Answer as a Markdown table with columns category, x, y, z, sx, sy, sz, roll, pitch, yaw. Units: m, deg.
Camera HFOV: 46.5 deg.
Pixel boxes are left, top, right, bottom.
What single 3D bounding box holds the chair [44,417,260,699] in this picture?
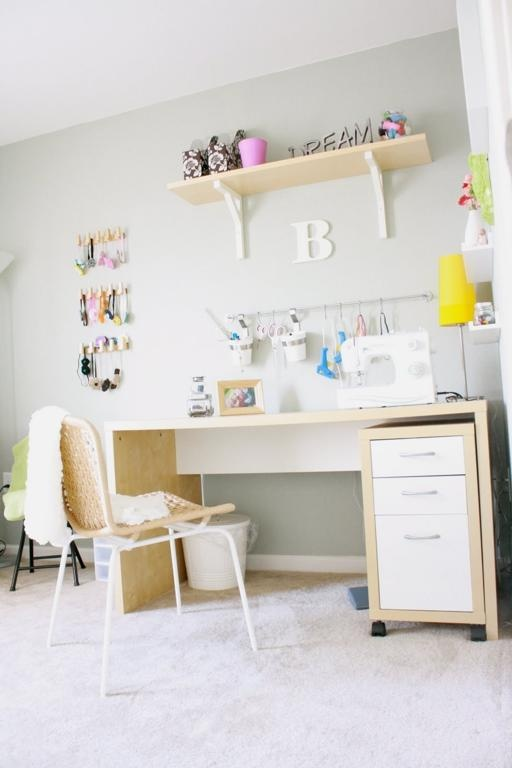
| category | x | y | z | sx | sy | sz | roll | pitch | yaw |
| --- | --- | --- | --- | --- | --- | --- | --- | --- | --- |
| chair | -0.305 | 0.418 | 1.649 | 0.447 | 0.666 | 0.382 | -2 | -1 | -35 |

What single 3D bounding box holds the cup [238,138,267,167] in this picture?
| category | x | y | z | sx | sy | sz | roll | pitch | yaw |
| --- | --- | --- | --- | --- | --- | --- | --- | --- | --- |
| cup | -0.015 | -0.946 | 2.497 | 0.118 | 0.109 | 0.134 | 1 | -2 | -2 |

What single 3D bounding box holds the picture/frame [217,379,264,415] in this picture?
| category | x | y | z | sx | sy | sz | roll | pitch | yaw |
| --- | --- | --- | --- | --- | --- | --- | --- | --- | --- |
| picture/frame | -0.058 | 0.054 | 2.329 | 0.115 | 0.109 | 0.009 | -3 | -6 | 6 |

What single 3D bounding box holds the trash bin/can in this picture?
| category | x | y | z | sx | sy | sz | roll | pitch | yaw |
| --- | --- | --- | --- | --- | --- | --- | --- | --- | --- |
| trash bin/can | -0.155 | 0.678 | 2.448 | 0.227 | 0.220 | 0.273 | -3 | -6 | 2 |

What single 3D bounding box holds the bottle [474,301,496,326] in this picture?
| category | x | y | z | sx | sy | sz | roll | pitch | yaw |
| --- | --- | --- | --- | --- | --- | --- | --- | --- | --- |
| bottle | 0.692 | -0.210 | 1.843 | 0.067 | 0.103 | 0.071 | 1 | -2 | 0 |
